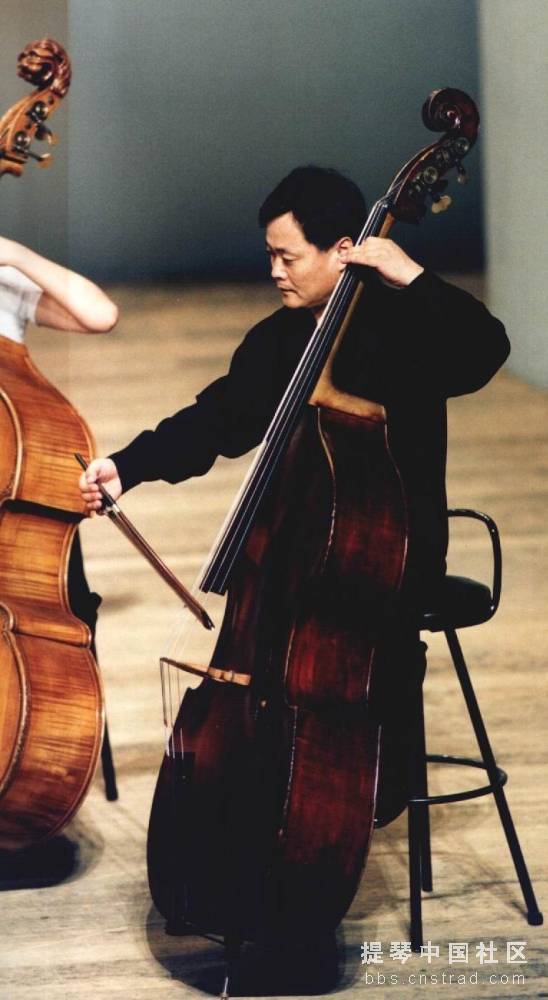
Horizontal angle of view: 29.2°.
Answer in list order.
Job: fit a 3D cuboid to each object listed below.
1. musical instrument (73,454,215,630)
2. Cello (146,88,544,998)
[{"bbox_3d":[-0.271,0.099,2.262,0.046,0.530,0.059,-29,27,14],"label":"musical instrument"},{"bbox_3d":[0.110,0.117,1.626,0.696,1.400,0.370,-18,27,-32],"label":"Cello"}]
